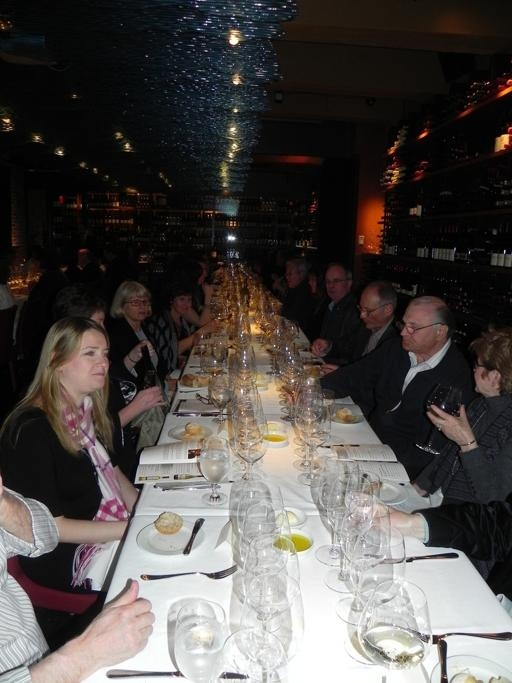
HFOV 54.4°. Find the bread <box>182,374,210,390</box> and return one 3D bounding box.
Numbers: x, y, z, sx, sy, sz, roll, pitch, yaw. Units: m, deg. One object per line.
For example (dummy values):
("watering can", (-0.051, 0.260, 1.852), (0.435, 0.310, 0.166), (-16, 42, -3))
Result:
("bread", (-0.350, 0.225, 2.847), (0.106, 0.035, 0.101), (4, 10, -2))

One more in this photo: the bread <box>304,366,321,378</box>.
("bread", (0.340, 0.179, 2.993), (0.081, 0.029, 0.078), (-4, 10, -32))

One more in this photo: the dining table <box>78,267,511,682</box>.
("dining table", (0.127, 0.344, 1.711), (0.710, 0.361, 1.543), (-1, 20, 6))

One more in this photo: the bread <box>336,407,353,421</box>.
("bread", (0.408, 0.329, 2.271), (0.046, 0.020, 0.056), (4, 25, 0))
